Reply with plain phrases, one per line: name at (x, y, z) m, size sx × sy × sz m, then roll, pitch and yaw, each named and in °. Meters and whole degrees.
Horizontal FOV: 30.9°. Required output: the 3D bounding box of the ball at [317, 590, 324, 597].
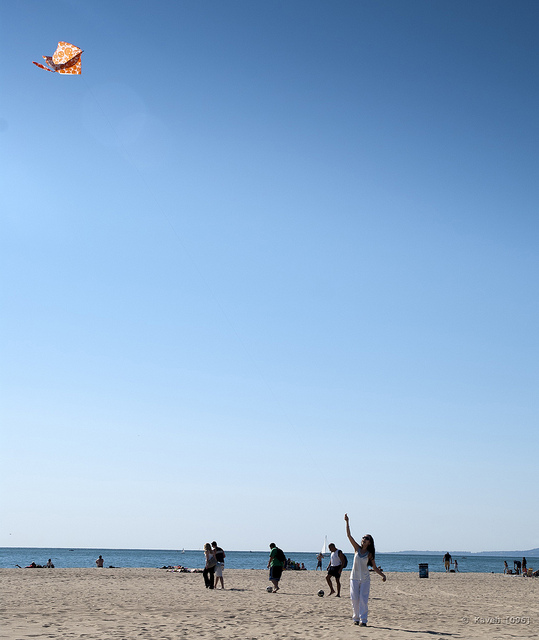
ball at (1.225, 6.433, 23.177) m, size 0.100 × 0.164 × 0.135 m, roll -8°, pitch -9°, yaw 38°

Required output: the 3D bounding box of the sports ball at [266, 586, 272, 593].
sports ball at (0.021, 6.829, 24.909) m, size 0.159 × 0.206 × 0.170 m, roll -1°, pitch -7°, yaw 0°

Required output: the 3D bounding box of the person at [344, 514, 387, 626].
person at (1.651, 4.361, 17.042) m, size 0.544 × 1.766 × 0.886 m, roll -2°, pitch -16°, yaw 6°

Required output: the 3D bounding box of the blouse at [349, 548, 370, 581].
blouse at (1.587, 4.205, 16.957) m, size 0.314 × 0.550 × 0.225 m, roll -1°, pitch -16°, yaw 5°

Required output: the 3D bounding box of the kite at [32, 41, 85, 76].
kite at (-3.926, -4.897, 18.645) m, size 0.655 × 0.671 × 0.574 m, roll 6°, pitch -18°, yaw -19°
